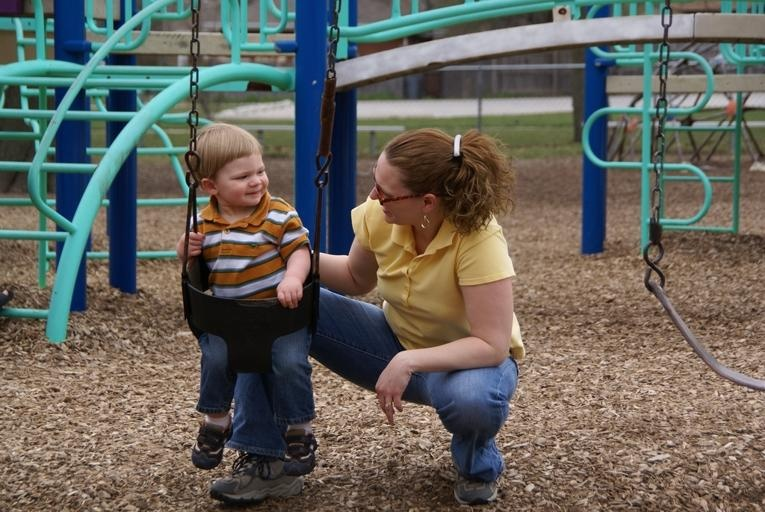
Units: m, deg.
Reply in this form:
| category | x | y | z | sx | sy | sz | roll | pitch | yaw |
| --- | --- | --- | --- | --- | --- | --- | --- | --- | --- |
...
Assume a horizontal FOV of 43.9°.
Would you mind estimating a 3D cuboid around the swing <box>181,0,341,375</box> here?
| category | x | y | z | sx | sy | sz | roll | pitch | yaw |
| --- | --- | --- | --- | --- | --- | --- | --- | --- | --- |
| swing | -0.552 | -0.331 | 4.334 | 0.715 | 1.638 | 0.766 | 0 | 14 | -3 |
